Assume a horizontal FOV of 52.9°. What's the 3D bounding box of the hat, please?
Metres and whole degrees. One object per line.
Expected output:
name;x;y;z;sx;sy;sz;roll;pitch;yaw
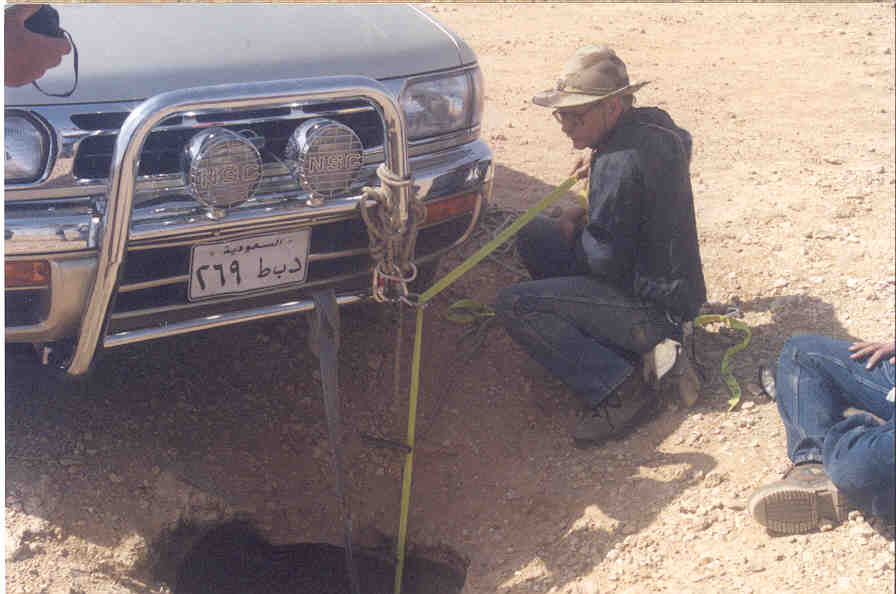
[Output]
hat;0.767;-1.183;4.594;0.364;0.183;0.436;-8;13;26

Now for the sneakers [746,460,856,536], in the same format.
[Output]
sneakers;1.551;0.891;4.044;0.455;0.253;0.287;-3;8;0

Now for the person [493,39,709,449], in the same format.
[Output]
person;0.835;-0.254;4.629;0.982;1.928;0.705;0;25;8
